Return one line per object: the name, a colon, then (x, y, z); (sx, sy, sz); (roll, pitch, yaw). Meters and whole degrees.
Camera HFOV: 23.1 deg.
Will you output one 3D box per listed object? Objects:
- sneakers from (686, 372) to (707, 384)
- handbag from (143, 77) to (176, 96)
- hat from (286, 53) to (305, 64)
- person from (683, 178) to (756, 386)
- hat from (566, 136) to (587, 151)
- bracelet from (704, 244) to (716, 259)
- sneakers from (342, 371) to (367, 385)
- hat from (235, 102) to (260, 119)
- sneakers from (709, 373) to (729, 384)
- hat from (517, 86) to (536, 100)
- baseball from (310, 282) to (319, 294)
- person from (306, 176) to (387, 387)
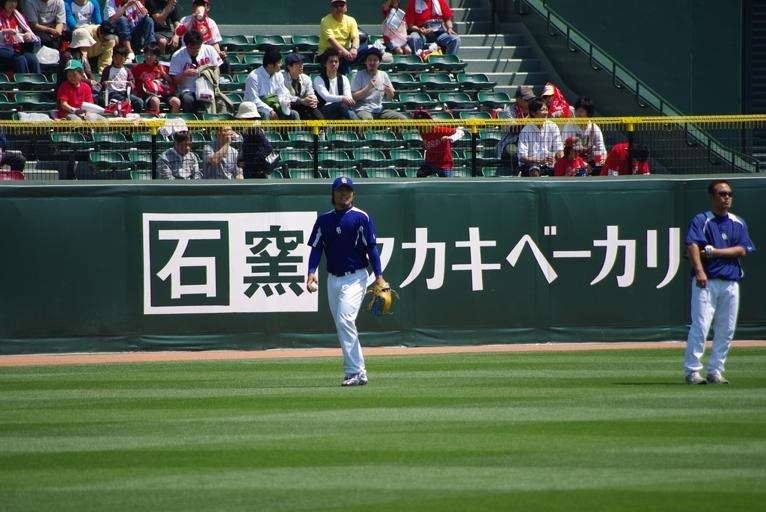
sneakers: (4.835, 1.884, 28.584); (0.278, 0.112, 0.164); (-3, -5, 41)
handbag: (-4.086, -3.058, 34.143); (0.452, 0.165, 0.335); (3, 11, -37)
hat: (-1.565, -3.512, 33.348); (0.272, 0.099, 0.195); (-8, 2, 11)
person: (5.100, 0.438, 28.494); (1.037, 3.066, 0.672); (-12, 15, -37)
hat: (3.389, -1.935, 32.375); (0.325, 0.159, 0.201); (10, 11, 21)
bracelet: (5.001, -0.066, 28.297); (0.152, 0.166, 0.176); (0, -15, 31)
sneakers: (-0.414, 1.908, 28.814); (0.174, 0.163, 0.363); (-7, -10, 39)
hat: (-2.352, -2.518, 32.755); (0.328, 0.175, 0.355); (1, -2, -27)
sneakers: (5.187, 1.895, 28.658); (0.285, 0.125, 0.142); (0, 3, 3)
hat: (2.587, -2.900, 33.419); (0.285, 0.205, 0.396); (-4, 3, -28)
baseball: (-1.041, 0.493, 28.880); (0.138, 0.165, 0.177); (-4, -31, -15)
person: (-0.546, 0.427, 28.879); (1.173, 3.166, 0.914); (-1, 12, 10)
